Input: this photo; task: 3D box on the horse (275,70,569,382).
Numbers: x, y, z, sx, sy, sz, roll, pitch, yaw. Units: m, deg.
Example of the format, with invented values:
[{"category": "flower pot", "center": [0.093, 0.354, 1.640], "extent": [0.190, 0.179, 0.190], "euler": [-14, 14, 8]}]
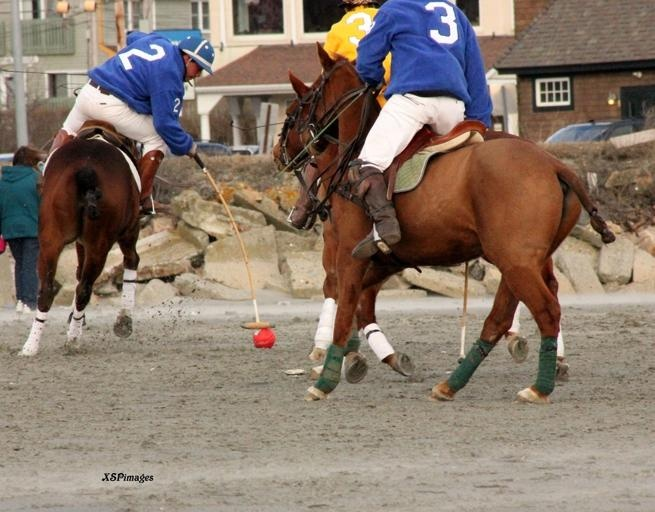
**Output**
[{"category": "horse", "center": [0.895, -0.226, 13.380], "extent": [3.600, 2.953, 1.065], "euler": [5, -2, 35]}]

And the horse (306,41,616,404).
[{"category": "horse", "center": [0.941, -0.198, 13.292], "extent": [3.714, 3.334, 1.017], "euler": [0, -7, 35]}]

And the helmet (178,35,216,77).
[{"category": "helmet", "center": [-1.435, -2.240, 16.031], "extent": [0.459, 0.250, 0.324], "euler": [38, 13, -15]}]
